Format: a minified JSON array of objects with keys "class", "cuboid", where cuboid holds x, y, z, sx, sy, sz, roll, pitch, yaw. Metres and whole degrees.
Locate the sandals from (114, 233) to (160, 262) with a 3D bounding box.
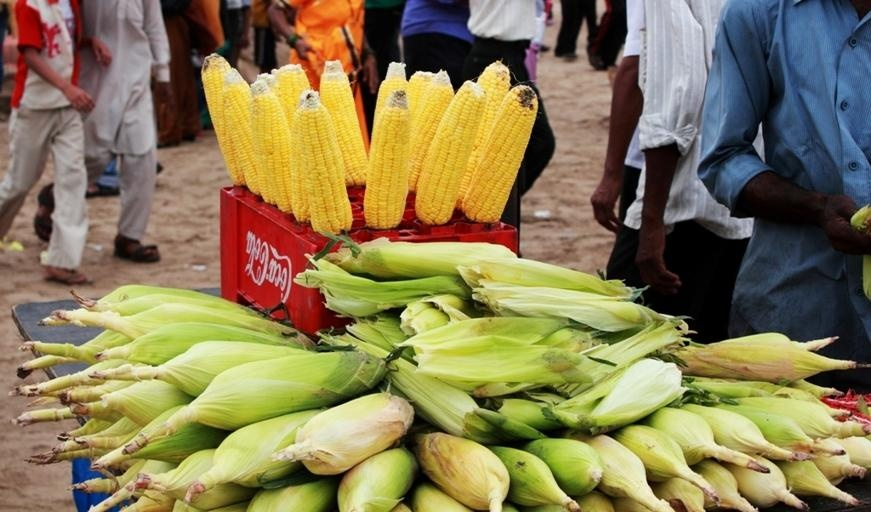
[{"class":"sandals","cuboid":[-2.460,-0.084,7.814,0.352,0.239,0.183,3,11,9]}]
